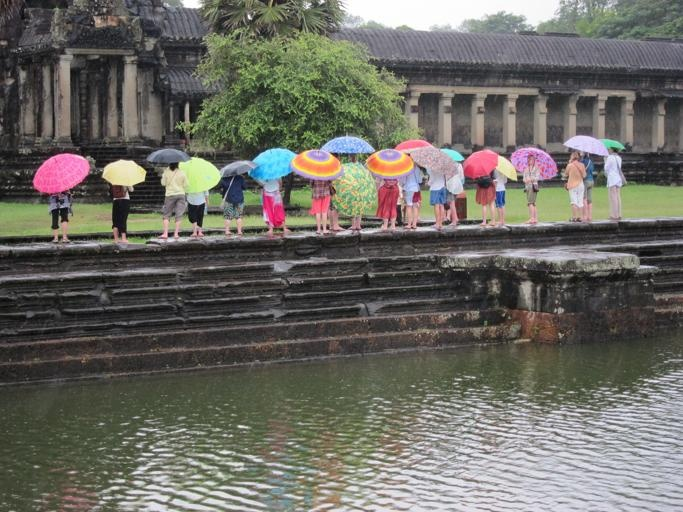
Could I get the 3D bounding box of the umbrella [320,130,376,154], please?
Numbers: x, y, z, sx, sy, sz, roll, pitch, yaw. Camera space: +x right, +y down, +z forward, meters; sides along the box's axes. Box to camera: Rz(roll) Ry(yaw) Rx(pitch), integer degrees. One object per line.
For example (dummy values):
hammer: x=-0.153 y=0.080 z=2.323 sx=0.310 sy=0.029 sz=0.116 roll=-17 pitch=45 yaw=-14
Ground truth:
umbrella: x=0.063 y=-2.763 z=33.526 sx=1.364 sy=0.645 sz=1.304 roll=-1 pitch=3 yaw=1

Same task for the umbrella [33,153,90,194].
umbrella: x=-5.975 y=-1.761 z=29.469 sx=1.125 sy=0.798 sz=0.666 roll=-3 pitch=3 yaw=-7
